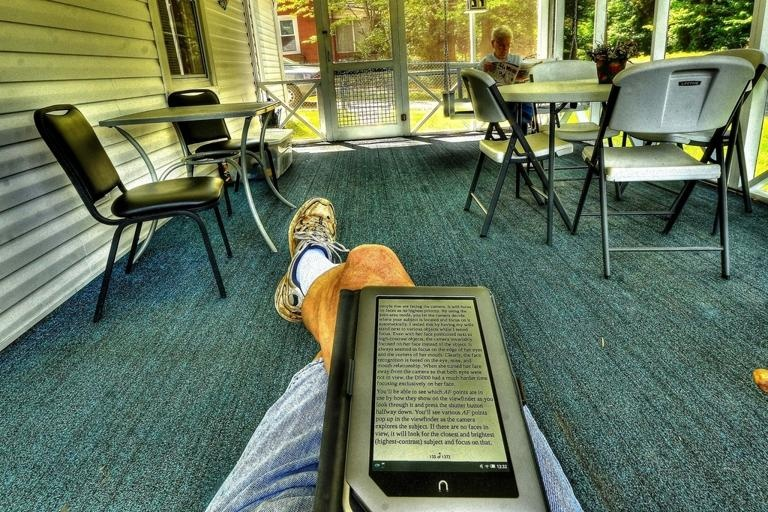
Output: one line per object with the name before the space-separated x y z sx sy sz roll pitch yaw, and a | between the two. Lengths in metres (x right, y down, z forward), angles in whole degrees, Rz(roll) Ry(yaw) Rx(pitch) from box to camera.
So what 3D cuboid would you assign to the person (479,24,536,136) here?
person | 1.420 -1.952 5.071 0.584 1.125 0.633 -16 31 -9
